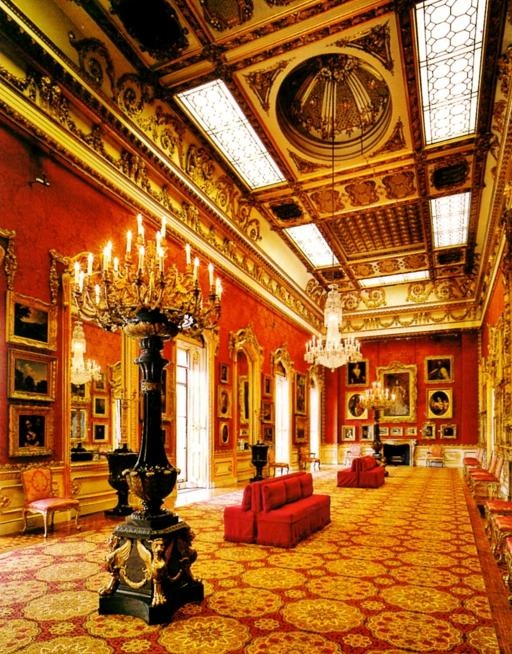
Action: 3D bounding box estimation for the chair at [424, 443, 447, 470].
[{"bbox_3d":[6.969,5.164,19.811,0.781,0.851,0.834,-5,-12,21],"label":"chair"}]

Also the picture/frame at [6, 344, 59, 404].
[{"bbox_3d":[-2.844,0.600,6.300,0.057,0.626,0.760,-5,-9,21],"label":"picture/frame"}]

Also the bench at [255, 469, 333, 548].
[{"bbox_3d":[0.464,2.431,6.721,0.550,0.748,1.600,-4,-12,21],"label":"bench"}]

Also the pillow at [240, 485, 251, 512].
[{"bbox_3d":[-0.129,2.165,6.302,0.095,0.255,0.250,5,-9,-22],"label":"pillow"}]

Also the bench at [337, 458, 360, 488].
[{"bbox_3d":[2.275,3.682,12.529,0.577,0.682,0.531,-2,-11,9],"label":"bench"}]

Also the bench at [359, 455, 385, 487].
[{"bbox_3d":[2.874,3.733,12.702,0.616,0.685,1.195,-2,-11,11],"label":"bench"}]
